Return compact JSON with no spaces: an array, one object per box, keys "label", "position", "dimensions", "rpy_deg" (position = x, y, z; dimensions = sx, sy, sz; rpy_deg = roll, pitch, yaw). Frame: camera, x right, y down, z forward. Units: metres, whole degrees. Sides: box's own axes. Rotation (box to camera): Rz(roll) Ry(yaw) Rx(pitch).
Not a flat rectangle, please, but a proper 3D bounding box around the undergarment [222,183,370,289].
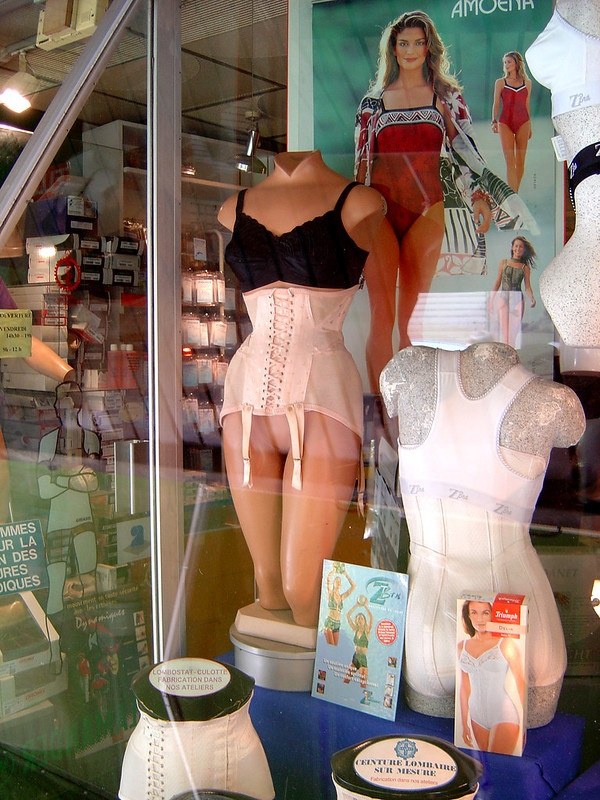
[{"label":"undergarment","position":[-0.028,-0.342,1.293],"dimensions":[0.293,0.234,0.152],"rpy_deg":[3,12,14]}]
